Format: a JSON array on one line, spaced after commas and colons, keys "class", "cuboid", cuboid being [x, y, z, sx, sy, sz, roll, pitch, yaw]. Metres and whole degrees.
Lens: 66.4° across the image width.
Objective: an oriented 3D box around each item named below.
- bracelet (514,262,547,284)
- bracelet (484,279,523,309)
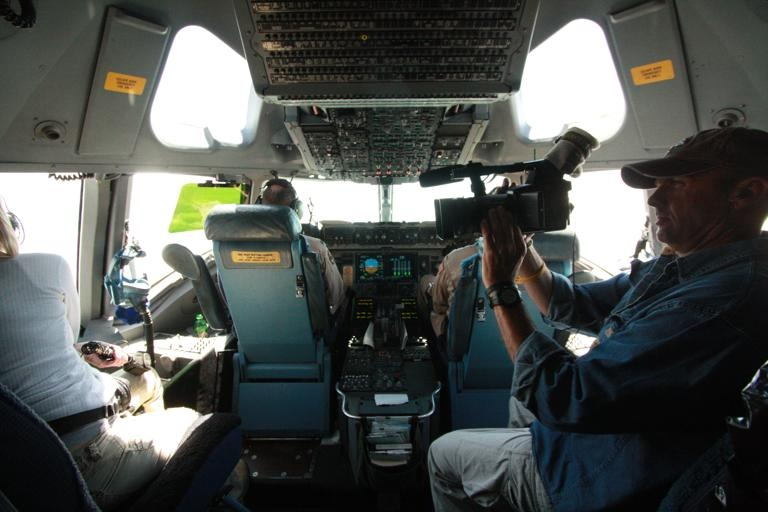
[{"class": "bracelet", "cuboid": [0.724, 0.091, 2.908, 0.134, 0.038, 0.102, -16, 5, -26]}, {"class": "bracelet", "cuboid": [0.527, 0.169, 2.579, 0.135, 0.109, 0.130, -4, -4, 4]}]
